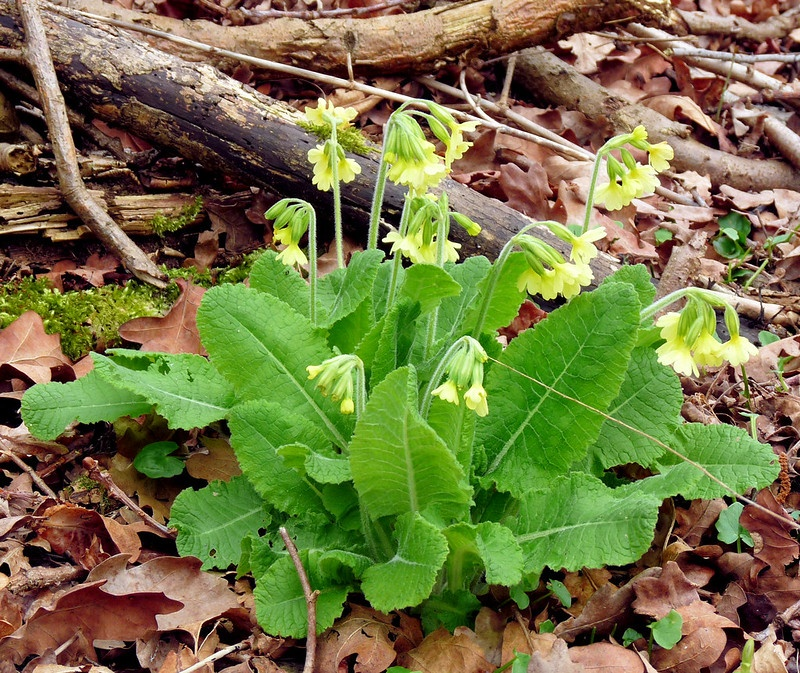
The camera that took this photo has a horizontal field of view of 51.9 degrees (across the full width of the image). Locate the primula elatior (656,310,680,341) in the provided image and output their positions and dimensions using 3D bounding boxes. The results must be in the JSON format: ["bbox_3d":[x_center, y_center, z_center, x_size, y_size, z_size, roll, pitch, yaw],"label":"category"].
[{"bbox_3d":[0.995,-0.038,3.062,0.034,0.095,0.095,19,3,-38],"label":"primula elatior"}]

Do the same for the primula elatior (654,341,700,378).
[{"bbox_3d":[1.024,0.077,3.030,0.147,0.040,0.148,46,22,8],"label":"primula elatior"}]

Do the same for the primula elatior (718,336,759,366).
[{"bbox_3d":[1.377,0.067,3.344,0.135,0.060,0.130,-31,81,-8],"label":"primula elatior"}]
